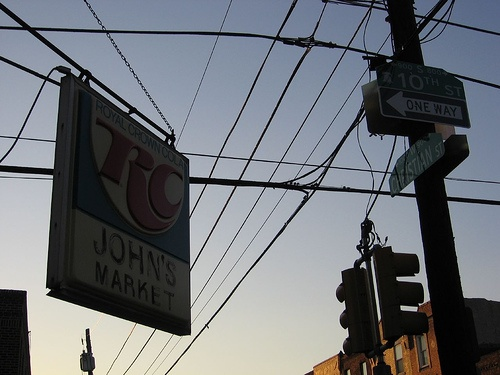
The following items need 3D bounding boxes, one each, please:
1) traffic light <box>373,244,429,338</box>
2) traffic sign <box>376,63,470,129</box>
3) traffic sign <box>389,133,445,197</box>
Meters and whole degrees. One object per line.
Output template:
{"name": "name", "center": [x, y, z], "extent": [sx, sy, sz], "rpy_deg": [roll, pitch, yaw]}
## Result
{"name": "traffic light", "center": [2.350, 1.596, 8.031], "extent": [0.739, 1.412, 0.454], "rpy_deg": [-3, -26, 10]}
{"name": "traffic sign", "center": [2.953, -1.600, 8.780], "extent": [1.587, 1.087, 0.159], "rpy_deg": [7, -26, -8]}
{"name": "traffic sign", "center": [2.692, -0.335, 8.017], "extent": [0.013, 0.495, 0.908], "rpy_deg": [14, -41, -17]}
